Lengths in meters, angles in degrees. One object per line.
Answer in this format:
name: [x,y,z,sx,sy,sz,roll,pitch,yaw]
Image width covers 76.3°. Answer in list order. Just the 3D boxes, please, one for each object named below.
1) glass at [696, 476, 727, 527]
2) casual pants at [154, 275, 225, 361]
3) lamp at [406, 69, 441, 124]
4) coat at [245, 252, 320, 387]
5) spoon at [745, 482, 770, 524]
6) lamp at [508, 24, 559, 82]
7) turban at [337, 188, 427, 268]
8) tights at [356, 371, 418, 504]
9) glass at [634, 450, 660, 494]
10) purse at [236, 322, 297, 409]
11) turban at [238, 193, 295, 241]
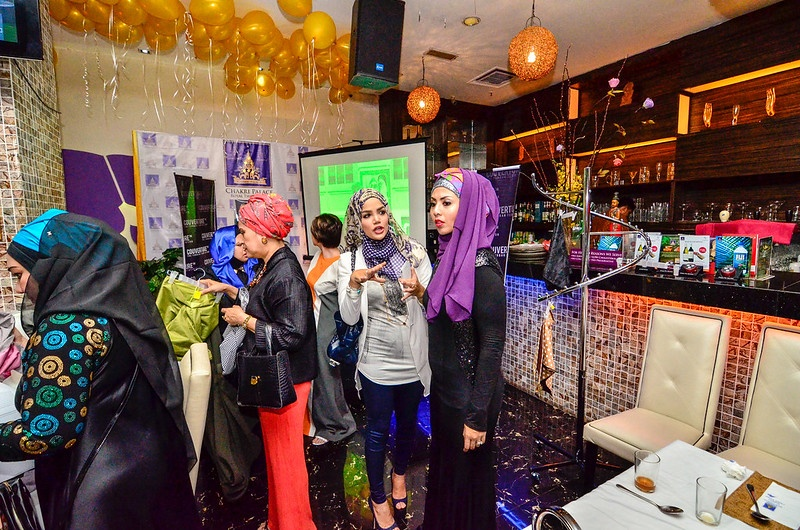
glass: [1.696,1.273,2.784,0.138,0.235,0.109,6,10,30]
casual pants: [-1.669,0.421,3.999,0.602,0.267,0.782,30,20,-46]
lamp: [0.296,-2.057,6.470,0.389,0.411,0.301,1,8,-3]
coat: [-0.871,0.296,3.749,0.479,0.867,0.969,-1,7,-17]
spoon: [1.988,1.313,2.822,0.090,0.135,0.159,4,9,17]
lamp: [1.320,-2.156,5.122,0.375,0.496,0.322,-3,9,-25]
turban: [-0.124,-0.311,4.304,0.758,0.678,0.384,-5,14,6]
tights: [-0.086,1.280,3.809,0.430,0.999,0.290,-4,10,-31]
glass: [1.431,1.191,3.010,0.139,0.210,0.215,13,11,15]
purse: [-0.921,0.667,3.438,0.395,0.570,0.239,-1,7,25]
turban: [-0.963,-0.334,3.617,0.418,0.337,0.347,8,14,38]
